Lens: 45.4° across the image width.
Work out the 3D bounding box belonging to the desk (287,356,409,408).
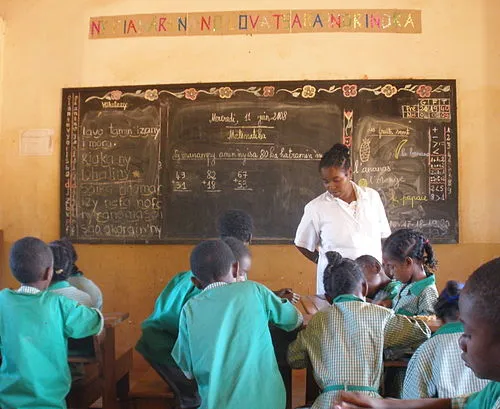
[{"bbox_3d":[0.412,0.718,2.424,0.363,0.256,0.204,-2,3,4],"label":"desk"}]
